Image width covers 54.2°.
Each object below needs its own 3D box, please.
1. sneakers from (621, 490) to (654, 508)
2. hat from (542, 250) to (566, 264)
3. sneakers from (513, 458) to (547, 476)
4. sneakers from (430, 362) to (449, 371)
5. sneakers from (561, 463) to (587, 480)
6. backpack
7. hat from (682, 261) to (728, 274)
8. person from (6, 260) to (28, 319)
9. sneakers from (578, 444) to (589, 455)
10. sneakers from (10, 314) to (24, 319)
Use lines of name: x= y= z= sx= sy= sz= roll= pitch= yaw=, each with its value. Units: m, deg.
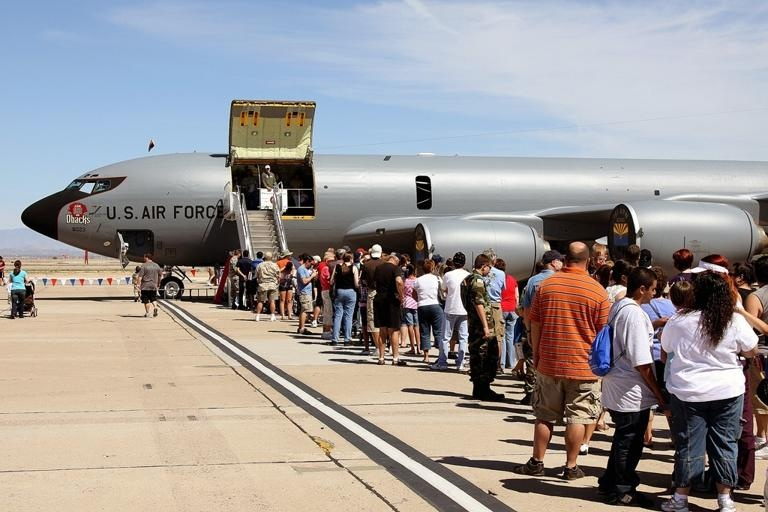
sneakers: x=2.516 y=2.425 z=7.490 sx=0.342 sy=0.117 sz=0.141 roll=0 pitch=-1 yaw=-3
hat: x=2.416 y=0.023 z=10.648 sx=0.314 sy=0.139 sz=0.207 roll=-7 pitch=6 yaw=-20
sneakers: x=1.583 y=2.291 z=8.178 sx=0.342 sy=0.134 sz=0.162 roll=0 pitch=-3 yaw=17
sneakers: x=0.974 y=1.978 z=13.443 sx=0.348 sy=0.123 sz=0.118 roll=2 pitch=-4 yaw=14
sneakers: x=2.042 y=2.317 z=8.074 sx=0.344 sy=0.112 sz=0.115 roll=-1 pitch=1 yaw=-36
backpack: x=2.320 y=0.857 z=7.665 sx=0.452 sy=0.765 sz=0.189 roll=-1 pitch=1 yaw=2
hat: x=3.920 y=0.150 z=9.331 sx=0.586 sy=0.143 sz=0.371 roll=0 pitch=-8 yaw=38
person: x=-10.061 y=0.894 z=20.793 sx=0.487 sy=1.228 sz=1.571 roll=-2 pitch=1 yaw=-26
sneakers: x=2.339 y=2.278 z=8.830 sx=0.093 sy=0.082 sz=0.218 roll=2 pitch=-1 yaw=9
sneakers: x=-10.020 y=1.664 z=20.570 sx=0.207 sy=0.128 sz=0.482 roll=-2 pitch=4 yaw=-29
